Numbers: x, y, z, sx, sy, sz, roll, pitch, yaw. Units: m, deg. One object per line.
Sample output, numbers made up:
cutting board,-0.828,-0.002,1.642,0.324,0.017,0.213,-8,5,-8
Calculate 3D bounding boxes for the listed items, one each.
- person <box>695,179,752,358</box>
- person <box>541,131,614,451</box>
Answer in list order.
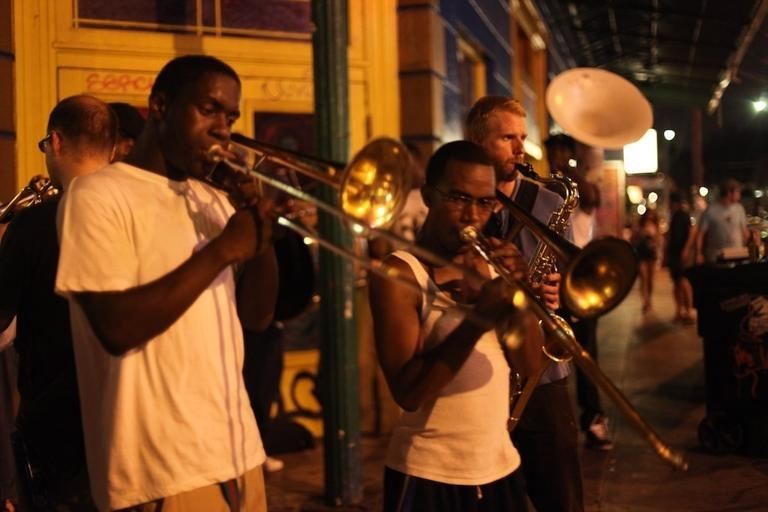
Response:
person,5.112,-0.014,11.240,0.770,2.302,0.682,-17,30,-26
person,1.769,0.220,6.462,0.740,2.841,0.729,1,-3,2
